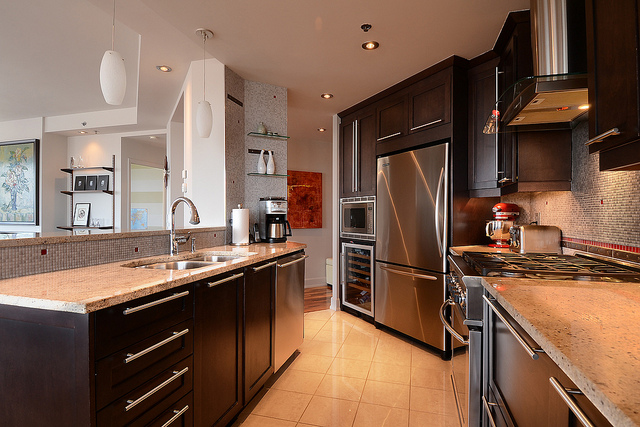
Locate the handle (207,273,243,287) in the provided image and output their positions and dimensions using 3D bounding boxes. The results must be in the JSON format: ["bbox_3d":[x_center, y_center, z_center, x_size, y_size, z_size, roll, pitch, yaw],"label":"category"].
[{"bbox_3d":[-0.650,0.445,3.149,0.049,0.052,0.475,-6,2,31],"label":"handle"}]

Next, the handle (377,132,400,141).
[{"bbox_3d":[0.744,-0.844,4.761,0.041,0.088,0.338,-6,12,-27],"label":"handle"}]

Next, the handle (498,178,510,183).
[{"bbox_3d":[1.543,-0.287,3.683,0.026,0.041,0.113,7,14,9],"label":"handle"}]

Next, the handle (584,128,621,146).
[{"bbox_3d":[1.592,-0.441,2.487,0.089,0.093,0.199,-1,11,1],"label":"handle"}]

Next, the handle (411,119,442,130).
[{"bbox_3d":[1.050,-0.886,4.324,0.047,0.090,0.357,-7,12,-29],"label":"handle"}]

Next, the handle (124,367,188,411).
[{"bbox_3d":[-0.961,1.029,2.617,0.018,0.089,0.430,7,13,36],"label":"handle"}]

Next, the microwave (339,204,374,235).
[{"bbox_3d":[0.346,0.042,5.275,0.551,0.368,0.313,-1,2,-41],"label":"microwave"}]

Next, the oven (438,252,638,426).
[{"bbox_3d":[1.436,0.689,3.533,1.095,1.541,1.611,1,-3,-1],"label":"oven"}]

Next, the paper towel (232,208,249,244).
[{"bbox_3d":[-0.752,0.112,4.140,0.154,0.322,0.103,-3,11,-11],"label":"paper towel"}]

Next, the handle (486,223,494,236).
[{"bbox_3d":[1.510,0.137,3.910,0.017,0.115,0.081,-5,12,-22],"label":"handle"}]

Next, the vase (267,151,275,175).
[{"bbox_3d":[-0.514,-0.542,4.604,0.069,0.236,0.143,-1,11,-3],"label":"vase"}]
